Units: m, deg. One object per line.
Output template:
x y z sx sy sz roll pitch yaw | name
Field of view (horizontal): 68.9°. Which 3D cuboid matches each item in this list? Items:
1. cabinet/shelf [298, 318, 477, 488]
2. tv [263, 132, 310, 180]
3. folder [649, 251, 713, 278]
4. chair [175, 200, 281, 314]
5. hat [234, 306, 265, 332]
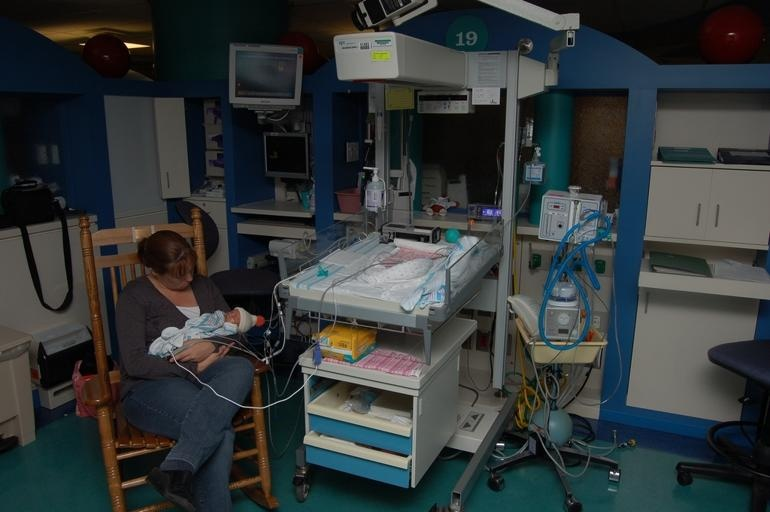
0.079 0.881 3.778 0.753 0.689 1.141 2 5 20 | cabinet/shelf
-0.935 -0.964 5.391 0.437 0.385 0.044 4 14 11 | tv
2.149 0.066 4.094 0.254 0.061 0.254 3 20 16 | folder
-1.278 0.010 4.584 0.777 1.201 0.623 1 24 3 | chair
-0.876 0.428 3.662 0.224 0.169 0.131 5 21 -22 | hat
